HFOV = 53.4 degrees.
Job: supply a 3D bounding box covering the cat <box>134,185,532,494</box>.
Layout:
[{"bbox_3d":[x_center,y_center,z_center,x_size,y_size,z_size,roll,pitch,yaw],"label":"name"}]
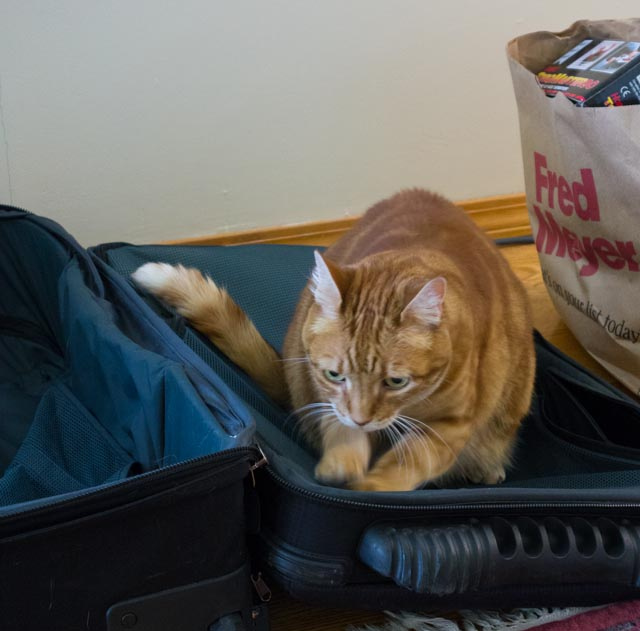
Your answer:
[{"bbox_3d":[0.038,0.028,1.032,0.561,0.372,0.518,-10,33,-14],"label":"cat"}]
